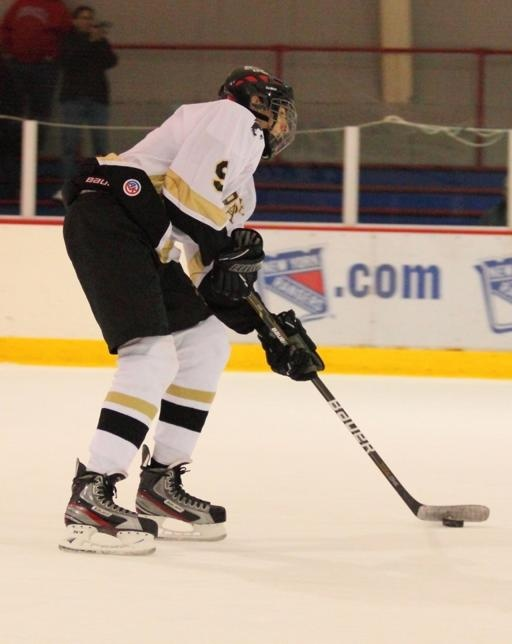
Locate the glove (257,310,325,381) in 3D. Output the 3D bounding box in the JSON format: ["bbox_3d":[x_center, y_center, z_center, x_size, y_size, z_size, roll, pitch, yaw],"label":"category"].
[{"bbox_3d":[0.085,0.060,2.298,0.147,0.216,0.061,-38,-8,4],"label":"glove"}]

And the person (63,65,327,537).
[{"bbox_3d":[-0.177,-0.083,2.096,0.450,1.191,0.657,9,4,34],"label":"person"}]

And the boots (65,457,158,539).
[{"bbox_3d":[-0.296,0.388,1.893,0.259,0.150,0.074,1,-4,24],"label":"boots"}]

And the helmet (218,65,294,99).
[{"bbox_3d":[-0.006,-0.636,2.281,0.156,0.109,0.103,-13,8,-3],"label":"helmet"}]
